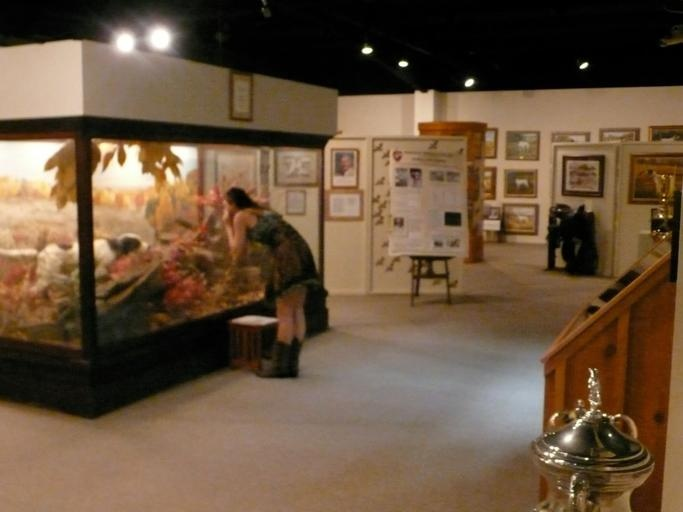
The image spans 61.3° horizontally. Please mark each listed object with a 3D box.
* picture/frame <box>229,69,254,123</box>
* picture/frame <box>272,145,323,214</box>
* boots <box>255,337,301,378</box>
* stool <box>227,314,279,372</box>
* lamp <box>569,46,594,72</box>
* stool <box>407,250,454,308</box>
[{"bbox_3d":[-1.044,-1.667,6.043,0.046,0.497,0.363,6,11,31],"label":"picture/frame"},{"bbox_3d":[-0.556,-0.936,7.086,0.035,0.889,0.858,2,5,31],"label":"picture/frame"},{"bbox_3d":[-0.621,1.057,5.894,0.436,0.406,0.267,2,0,4],"label":"boots"},{"bbox_3d":[-0.917,0.870,6.063,0.495,0.505,0.501,2,4,23],"label":"stool"},{"bbox_3d":[4.413,-3.633,10.684,0.341,0.348,0.583,18,3,41],"label":"lamp"},{"bbox_3d":[1.351,0.370,9.118,0.784,0.788,0.720,-1,1,3],"label":"stool"}]
